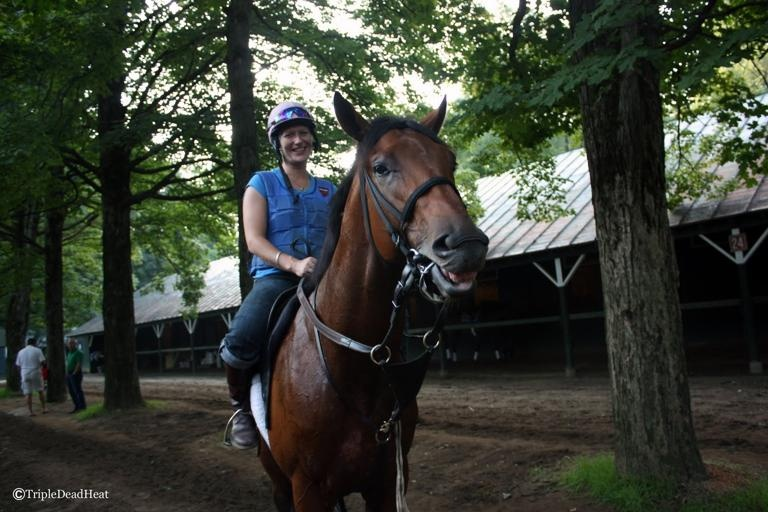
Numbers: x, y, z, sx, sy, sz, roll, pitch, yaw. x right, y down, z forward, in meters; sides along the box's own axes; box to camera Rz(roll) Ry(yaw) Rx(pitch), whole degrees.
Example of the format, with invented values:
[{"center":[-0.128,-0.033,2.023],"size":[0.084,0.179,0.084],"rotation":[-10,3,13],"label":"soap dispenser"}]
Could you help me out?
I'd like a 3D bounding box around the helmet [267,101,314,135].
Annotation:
[{"center":[-1.126,-1.659,7.826],"size":[0.385,0.487,0.380],"rotation":[0,24,-25],"label":"helmet"}]
